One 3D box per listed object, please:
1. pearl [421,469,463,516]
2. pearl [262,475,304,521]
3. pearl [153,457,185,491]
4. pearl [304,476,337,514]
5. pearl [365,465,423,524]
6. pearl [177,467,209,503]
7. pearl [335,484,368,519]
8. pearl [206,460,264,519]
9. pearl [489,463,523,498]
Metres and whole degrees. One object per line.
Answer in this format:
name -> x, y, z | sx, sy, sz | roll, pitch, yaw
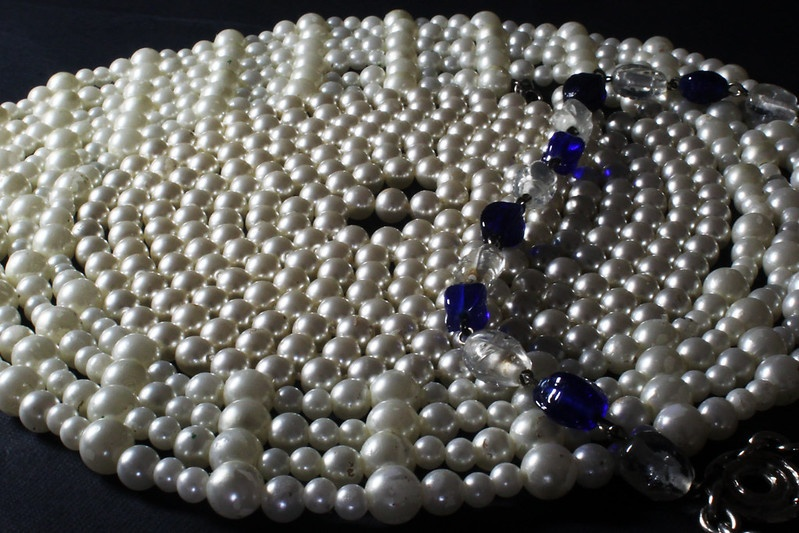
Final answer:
pearl -> 0.055, 0.300, 1.184 | 0.058, 0.030, 0.053 | 2, 84, 5
pearl -> -0.155, 0.313, 1.189 | 0.054, 0.048, 0.054 | 6, 57, 8
pearl -> -0.318, 0.287, 1.216 | 0.047, 0.045, 0.050 | -6, 80, 20
pearl -> -0.106, 0.309, 1.192 | 0.044, 0.038, 0.040 | -5, 56, 2
pearl -> -0.009, 0.303, 1.173 | 0.078, 0.041, 0.072 | -9, 75, 0
pearl -> -0.279, 0.293, 1.190 | 0.030, 0.033, 0.029 | 20, 45, 17
pearl -> -0.064, 0.317, 1.189 | 0.042, 0.040, 0.040 | 2, 56, 6
pearl -> -0.222, 0.304, 1.195 | 0.085, 0.064, 0.079 | 0, 94, -2
pearl -> 0.146, 0.294, 1.213 | 0.044, 0.038, 0.039 | -15, 56, -6
